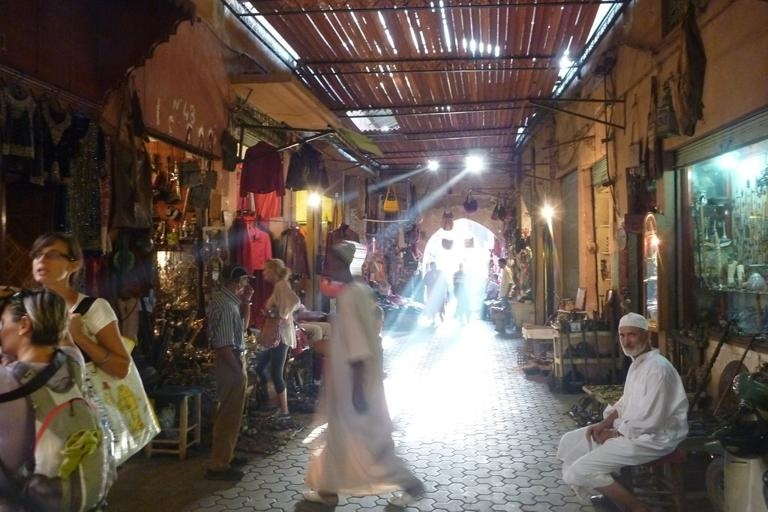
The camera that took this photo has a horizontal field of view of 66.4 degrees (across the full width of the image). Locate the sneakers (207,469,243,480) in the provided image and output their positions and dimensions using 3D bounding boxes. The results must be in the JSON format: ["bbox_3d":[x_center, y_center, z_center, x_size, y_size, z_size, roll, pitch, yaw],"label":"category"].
[{"bbox_3d":[-1.760,2.412,6.516,0.347,0.143,0.151,0,-5,-6],"label":"sneakers"}]

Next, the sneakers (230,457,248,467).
[{"bbox_3d":[-1.710,2.417,6.964,0.218,0.154,0.071,-1,6,-25],"label":"sneakers"}]

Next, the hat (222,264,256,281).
[{"bbox_3d":[-1.742,0.207,6.928,0.234,0.119,0.162,-18,17,-34],"label":"hat"}]

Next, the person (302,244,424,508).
[{"bbox_3d":[-0.255,1.146,5.988,0.988,2.540,0.385,0,-4,-7],"label":"person"}]

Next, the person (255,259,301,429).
[{"bbox_3d":[-1.541,1.219,8.538,0.593,2.349,0.894,0,-4,-13],"label":"person"}]

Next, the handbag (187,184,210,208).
[{"bbox_3d":[-2.605,-0.830,8.313,0.275,0.306,0.213,1,-5,-21],"label":"handbag"}]

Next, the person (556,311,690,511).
[{"bbox_3d":[2.384,1.545,5.887,1.165,1.898,0.598,-3,-5,25],"label":"person"}]

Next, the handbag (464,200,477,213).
[{"bbox_3d":[3.247,-1.879,21.956,0.480,0.477,0.421,-3,-5,26],"label":"handbag"}]

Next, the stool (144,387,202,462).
[{"bbox_3d":[-2.601,2.085,7.316,0.793,0.925,0.835,-9,-16,14],"label":"stool"}]

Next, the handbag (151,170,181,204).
[{"bbox_3d":[-3.280,-0.987,8.893,0.415,0.424,0.116,4,-18,1],"label":"handbag"}]

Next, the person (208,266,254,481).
[{"bbox_3d":[-1.778,1.303,6.692,0.422,2.374,0.378,1,-4,-17],"label":"person"}]

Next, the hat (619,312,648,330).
[{"bbox_3d":[2.605,0.682,6.083,0.234,0.159,0.248,0,-5,40],"label":"hat"}]

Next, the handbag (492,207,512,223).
[{"bbox_3d":[4.412,-1.545,21.883,0.732,0.601,1.628,-2,-5,13],"label":"handbag"}]

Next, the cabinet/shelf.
[{"bbox_3d":[3.515,1.746,10.004,0.958,0.967,0.813,-5,-1,25],"label":"cabinet/shelf"}]

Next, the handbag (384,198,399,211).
[{"bbox_3d":[0.277,-1.784,20.113,0.554,0.544,0.431,0,-5,-4],"label":"handbag"}]

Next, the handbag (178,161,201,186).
[{"bbox_3d":[-2.720,-1.159,8.364,0.301,0.387,0.299,-1,1,4],"label":"handbag"}]

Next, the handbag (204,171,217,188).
[{"bbox_3d":[-2.450,-1.072,8.355,0.053,0.202,0.203,1,0,17],"label":"handbag"}]
